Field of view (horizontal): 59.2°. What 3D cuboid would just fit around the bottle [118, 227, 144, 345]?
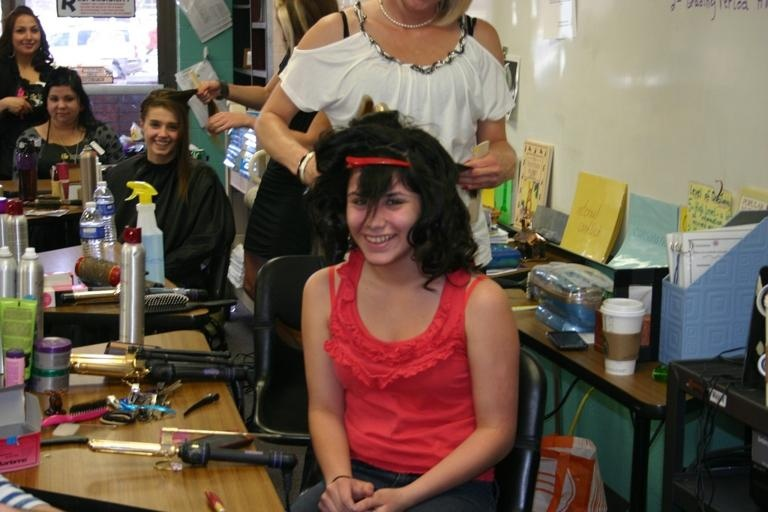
[{"bbox_3d":[-0.721,0.090,1.948,0.081,0.338,0.163,-4,8,-22],"label":"bottle"}]

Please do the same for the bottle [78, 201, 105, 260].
[{"bbox_3d":[-1.177,-0.107,2.763,0.089,0.220,0.189,-4,8,-24],"label":"bottle"}]

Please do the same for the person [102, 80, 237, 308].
[{"bbox_3d":[-1.276,-0.268,3.726,0.794,1.295,0.647,7,13,10],"label":"person"}]

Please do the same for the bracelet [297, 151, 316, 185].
[{"bbox_3d":[-0.230,-0.270,2.053,0.033,0.096,0.076,13,-4,-21],"label":"bracelet"}]

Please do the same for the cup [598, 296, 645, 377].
[{"bbox_3d":[0.747,0.243,2.125,0.183,0.283,0.193,0,1,0],"label":"cup"}]

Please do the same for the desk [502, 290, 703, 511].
[{"bbox_3d":[0.702,0.451,2.135,0.223,0.468,0.714,-3,13,-16],"label":"desk"}]

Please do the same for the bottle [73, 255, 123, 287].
[{"bbox_3d":[-1.045,0.057,2.488,0.114,0.073,0.073,8,21,25],"label":"bottle"}]

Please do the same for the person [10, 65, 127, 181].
[{"bbox_3d":[-2.119,-0.874,4.589,0.697,0.740,0.362,-1,9,-9],"label":"person"}]

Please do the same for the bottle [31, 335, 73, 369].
[{"bbox_3d":[-0.861,0.253,1.774,0.077,0.063,0.077,4,-2,-35],"label":"bottle"}]

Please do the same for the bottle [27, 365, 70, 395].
[{"bbox_3d":[-0.875,0.326,1.774,0.070,0.051,0.074,2,-2,0],"label":"bottle"}]
